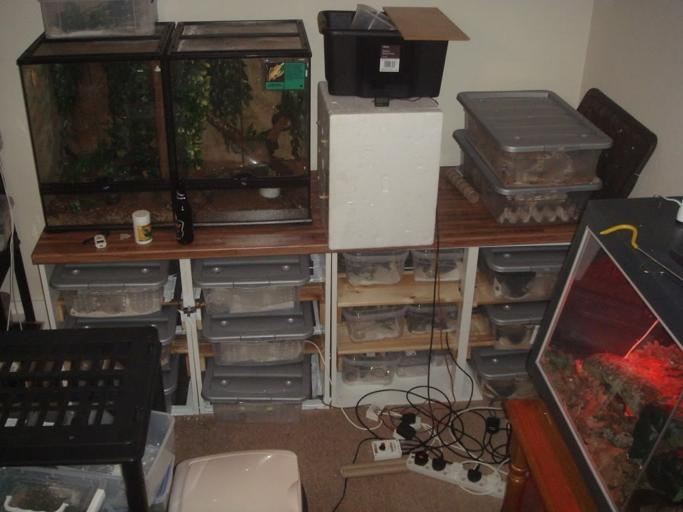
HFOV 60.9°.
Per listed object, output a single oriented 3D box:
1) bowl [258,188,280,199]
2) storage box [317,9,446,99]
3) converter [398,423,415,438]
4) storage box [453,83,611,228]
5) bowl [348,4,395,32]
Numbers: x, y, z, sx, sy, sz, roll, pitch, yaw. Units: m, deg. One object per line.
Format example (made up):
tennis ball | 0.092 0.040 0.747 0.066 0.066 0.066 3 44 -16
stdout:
bowl | -0.315 -0.278 2.590 0.052 0.041 0.055 1 39 -1
storage box | 0.151 -0.900 2.454 0.469 0.329 0.439 -1 31 -5
converter | 0.319 0.863 2.844 0.059 0.015 0.060 28 50 20
storage box | 0.849 -0.470 2.759 0.490 0.407 0.740 -4 32 -7
bowl | 0.120 -0.929 2.292 0.162 0.058 0.122 16 22 11
